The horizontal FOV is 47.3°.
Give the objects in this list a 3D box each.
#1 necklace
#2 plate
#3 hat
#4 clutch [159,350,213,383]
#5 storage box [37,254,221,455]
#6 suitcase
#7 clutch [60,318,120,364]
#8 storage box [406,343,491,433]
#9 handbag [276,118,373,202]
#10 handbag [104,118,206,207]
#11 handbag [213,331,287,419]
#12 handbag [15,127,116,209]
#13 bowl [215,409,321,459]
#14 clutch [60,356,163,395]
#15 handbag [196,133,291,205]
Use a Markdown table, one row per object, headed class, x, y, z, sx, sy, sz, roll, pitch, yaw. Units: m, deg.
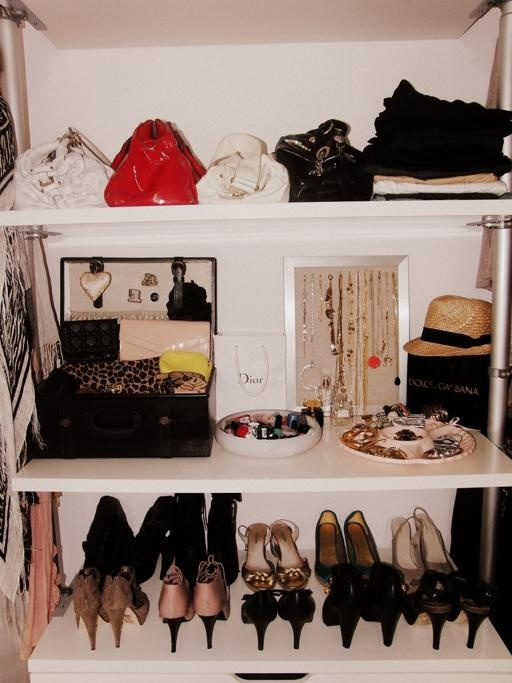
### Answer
| class | x | y | z | sx | sy | sz | roll | pitch | yaw |
| --- | --- | --- | --- | --- | --- | --- | --- | --- | --- |
| necklace | 0.262 | -0.014 | 1.667 | 0.363 | 0.536 | 0.026 | -1 | -1 | -2 |
| plate | 0.371 | 0.239 | 1.440 | 0.319 | 0.061 | 0.204 | -2 | 10 | 3 |
| hat | 0.515 | -0.034 | 1.529 | 0.230 | 0.134 | 0.212 | 2 | 10 | -10 |
| clutch | -0.178 | 0.062 | 1.471 | 0.133 | 0.072 | 0.079 | -4 | 10 | -8 |
| storage box | -0.290 | 0.009 | 1.583 | 0.452 | 0.498 | 0.474 | 0 | 11 | -1 |
| suitcase | -0.285 | 0.002 | 1.582 | 0.453 | 0.497 | 0.480 | 0 | 12 | -1 |
| clutch | -0.442 | -0.011 | 1.570 | 0.155 | 0.119 | 0.040 | 1 | 5 | -15 |
| storage box | 0.509 | 0.115 | 1.569 | 0.195 | 0.189 | 0.069 | 7 | 22 | 30 |
| handbag | 0.157 | -0.441 | 1.411 | 0.230 | 0.098 | 0.193 | -5 | 46 | -22 |
| handbag | -0.229 | -0.420 | 1.338 | 0.175 | 0.090 | 0.233 | 7 | 48 | 4 |
| handbag | -0.014 | 0.088 | 1.633 | 0.210 | 0.325 | 0.111 | 0 | 11 | -1 |
| handbag | -0.428 | -0.387 | 1.309 | 0.218 | 0.186 | 0.186 | -8 | 11 | -27 |
| bowl | 0.029 | 0.233 | 1.476 | 0.260 | 0.077 | 0.236 | -4 | 10 | -4 |
| clutch | -0.365 | 0.091 | 1.487 | 0.269 | 0.077 | 0.049 | -2 | 9 | 5 |
| handbag | -0.047 | -0.395 | 1.347 | 0.173 | 0.061 | 0.196 | -9 | -12 | 24 |
